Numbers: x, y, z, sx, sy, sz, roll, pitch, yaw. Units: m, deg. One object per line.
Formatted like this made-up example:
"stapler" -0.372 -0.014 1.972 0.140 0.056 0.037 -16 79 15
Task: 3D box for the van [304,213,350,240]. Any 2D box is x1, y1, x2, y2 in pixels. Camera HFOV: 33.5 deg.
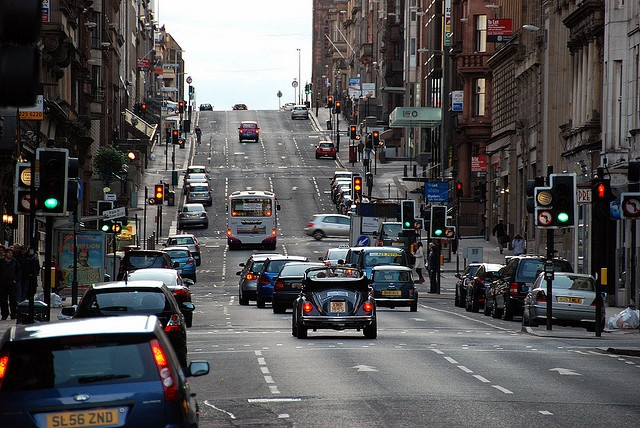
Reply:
"van" 0.519 0.881 69.599 2.686 1.696 1.356 1 -4 -6

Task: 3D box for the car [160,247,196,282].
"car" -5.426 1.907 40.351 1.366 1.208 3.130 0 4 -5

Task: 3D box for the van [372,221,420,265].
"van" 4.161 1.490 57.978 1.561 1.511 2.780 0 5 -5

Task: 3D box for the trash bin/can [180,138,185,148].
"trash bin/can" -15.863 -8.050 121.414 0.796 1.248 1.025 1 2 1

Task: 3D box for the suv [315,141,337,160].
"suv" 0.530 -6.828 112.818 1.980 1.984 2.176 0 -4 3

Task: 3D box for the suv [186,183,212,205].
"suv" -9.464 -1.586 83.180 1.880 1.863 2.314 1 -4 -6

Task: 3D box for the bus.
"bus" -4.110 0.475 64.123 2.905 3.309 1.326 1 -4 -1

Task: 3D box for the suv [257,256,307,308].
"suv" -1.805 2.354 36.827 1.537 1.727 3.057 1 0 -7

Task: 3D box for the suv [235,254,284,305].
"suv" -2.590 2.379 38.539 1.629 1.516 3.978 0 2 -10

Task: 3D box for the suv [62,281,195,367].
"suv" -3.476 2.236 20.038 2.141 1.824 3.745 1 -1 -5

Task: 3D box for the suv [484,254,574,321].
"suv" 5.388 2.443 33.408 2.170 2.153 4.856 1 -1 0

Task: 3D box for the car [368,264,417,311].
"car" 2.547 2.559 37.155 1.639 1.526 2.901 2 -1 0

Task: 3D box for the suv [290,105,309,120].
"suv" -3.013 -14.973 156.770 2.247 2.307 3.581 0 -5 2

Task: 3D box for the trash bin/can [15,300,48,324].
"trash bin/can" -5.925 2.016 21.802 0.692 0.550 0.721 0 3 -8

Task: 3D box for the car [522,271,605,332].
"car" 6.777 2.400 29.925 1.898 1.508 1.295 -1 -4 14

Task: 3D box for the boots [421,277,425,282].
"boots" 5.024 3.278 52.485 0.217 0.220 0.749 0 -5 3

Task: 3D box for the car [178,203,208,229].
"car" -8.907 0.138 73.914 1.921 1.708 1.711 1 -5 -12

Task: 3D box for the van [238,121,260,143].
"van" -8.544 -9.742 126.627 2.282 2.509 3.105 1 -4 -5

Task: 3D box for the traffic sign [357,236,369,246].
"traffic sign" 2.384 1.491 60.544 0.696 0.637 1.227 -1 -5 15
